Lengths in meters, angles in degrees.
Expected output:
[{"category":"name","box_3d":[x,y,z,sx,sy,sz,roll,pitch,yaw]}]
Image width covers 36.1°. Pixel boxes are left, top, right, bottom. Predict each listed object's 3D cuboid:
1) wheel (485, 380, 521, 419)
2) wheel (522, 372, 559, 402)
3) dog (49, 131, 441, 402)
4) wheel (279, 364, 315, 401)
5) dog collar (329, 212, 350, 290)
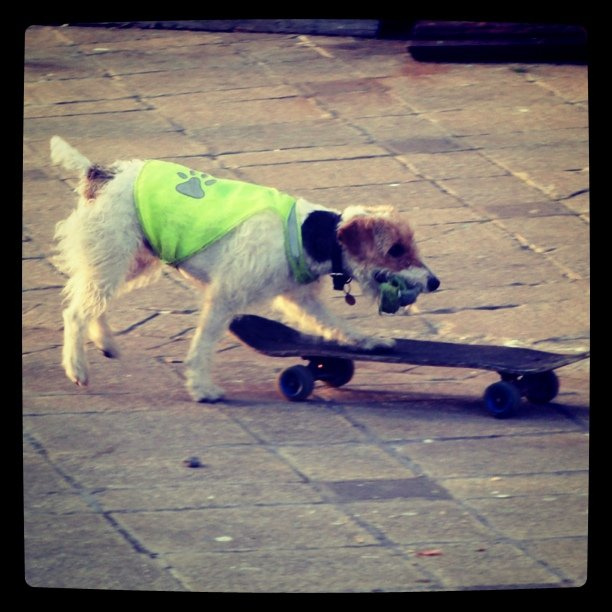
[{"category":"wheel","box_3d":[0.853,0.401,4.016,0.216,0.155,0.088,-9,-1,42]},{"category":"wheel","box_3d":[1.021,0.354,4.105,0.176,0.148,0.051,6,15,-14]},{"category":"dog","box_3d":[-0.334,-0.226,4.251,1.859,0.783,0.479,11,29,15]},{"category":"wheel","box_3d":[-0.043,0.352,4.249,0.141,0.166,0.075,59,19,11]},{"category":"dog collar","box_3d":[0.148,-0.240,4.125,0.109,0.319,0.066,-4,29,-3]}]
